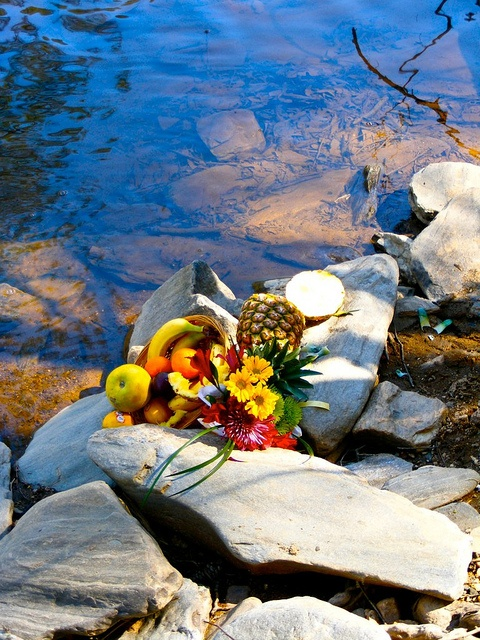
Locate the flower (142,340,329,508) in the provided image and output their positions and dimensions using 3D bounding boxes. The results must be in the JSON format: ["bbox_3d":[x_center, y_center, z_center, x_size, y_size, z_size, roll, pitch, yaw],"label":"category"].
[{"bbox_3d":[0.090,0.433,3.409,0.585,0.737,0.405,-2,27,0],"label":"flower"}]

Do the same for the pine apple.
[{"bbox_3d":[0.160,0.020,3.981,0.392,0.311,0.321,-9,65,2],"label":"pine apple"}]

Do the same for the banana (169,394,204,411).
[{"bbox_3d":[-0.236,0.374,3.431,0.150,0.041,0.058,2,52,-3],"label":"banana"}]

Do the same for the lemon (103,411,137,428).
[{"bbox_3d":[-0.558,0.470,3.539,0.138,0.087,0.101,2,21,13],"label":"lemon"}]

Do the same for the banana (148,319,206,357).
[{"bbox_3d":[-0.282,0.091,3.563,0.215,0.104,0.141,-18,35,-30],"label":"banana"}]

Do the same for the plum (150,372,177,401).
[{"bbox_3d":[-0.349,0.301,3.457,0.126,0.116,0.116,9,-24,-25],"label":"plum"}]

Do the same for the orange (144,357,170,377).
[{"bbox_3d":[-0.377,0.214,3.523,0.113,0.082,0.105,12,-17,-37],"label":"orange"}]
